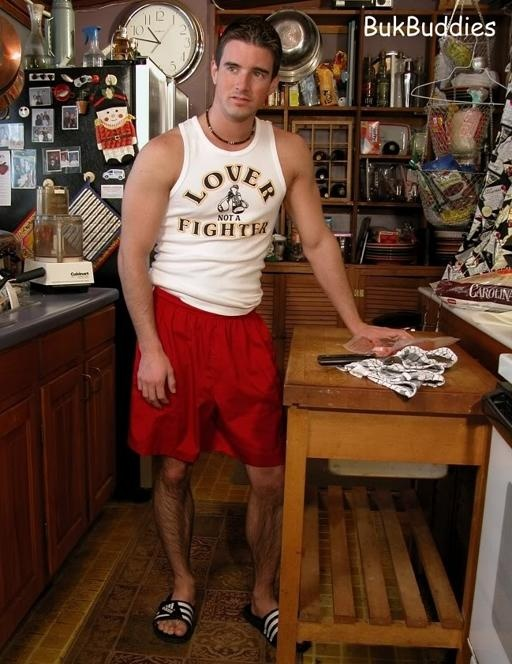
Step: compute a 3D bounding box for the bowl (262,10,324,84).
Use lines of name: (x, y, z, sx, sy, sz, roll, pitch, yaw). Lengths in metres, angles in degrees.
bowl: (0.205, -1.839, 3.424, 0.425, 0.102, 0.423, -1, 58, 2)

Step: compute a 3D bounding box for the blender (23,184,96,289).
blender: (-0.710, -0.340, 1.913, 0.183, 0.344, 0.235, -5, 16, -32)

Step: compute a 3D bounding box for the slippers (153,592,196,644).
slippers: (-0.221, 0.785, 1.452, 0.096, 0.057, 0.220, 1, 4, -6)

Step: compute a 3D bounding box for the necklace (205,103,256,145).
necklace: (-0.064, -0.494, 1.301, 0.126, 0.095, 0.069, 2, 5, -4)

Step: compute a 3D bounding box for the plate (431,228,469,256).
plate: (1.178, -0.547, 3.286, 0.165, 0.168, 0.074, 4, 5, 17)

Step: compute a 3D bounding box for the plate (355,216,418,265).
plate: (0.847, -0.616, 3.480, 0.337, 0.155, 0.357, 0, 13, -1)
